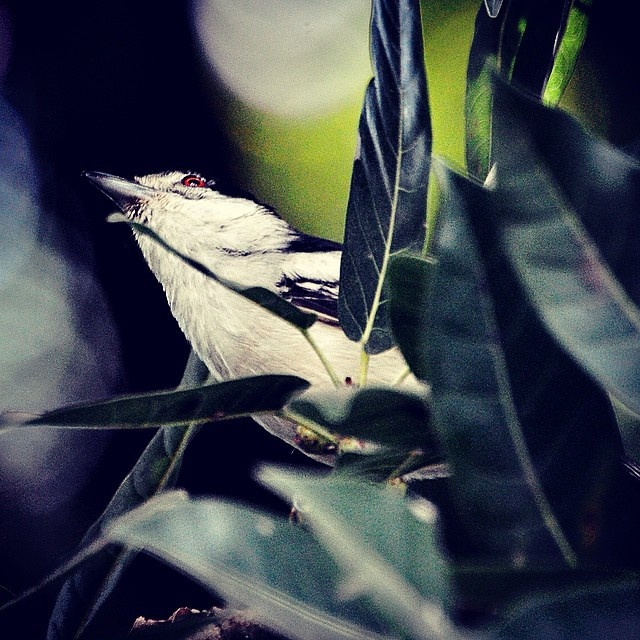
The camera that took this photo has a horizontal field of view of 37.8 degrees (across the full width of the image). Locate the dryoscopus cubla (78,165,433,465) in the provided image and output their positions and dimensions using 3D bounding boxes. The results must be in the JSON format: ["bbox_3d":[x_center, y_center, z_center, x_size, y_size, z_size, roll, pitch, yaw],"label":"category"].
[{"bbox_3d":[-0.001,-0.024,0.733,0.352,0.125,0.227,2,67,-23],"label":"dryoscopus cubla"}]
